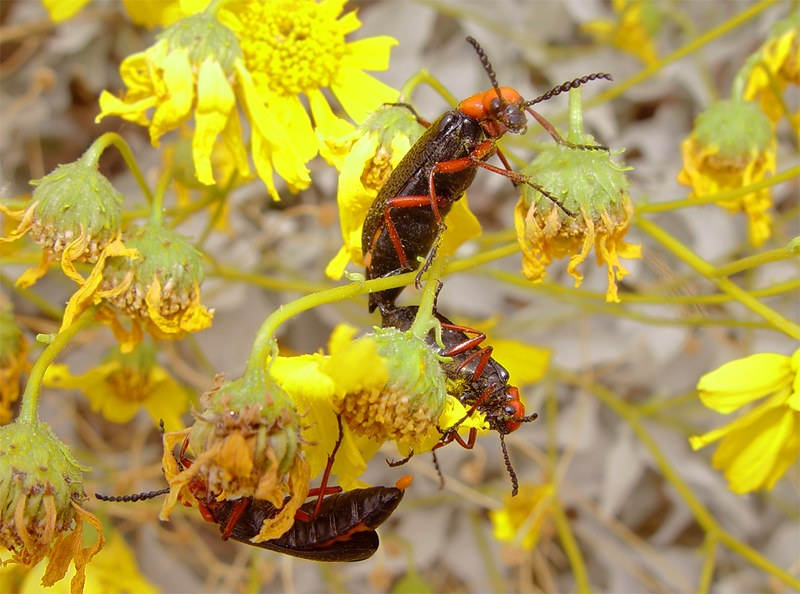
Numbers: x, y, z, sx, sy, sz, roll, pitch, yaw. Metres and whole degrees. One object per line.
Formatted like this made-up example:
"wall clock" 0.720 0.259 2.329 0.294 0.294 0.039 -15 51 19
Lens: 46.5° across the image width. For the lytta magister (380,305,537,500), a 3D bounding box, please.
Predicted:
"lytta magister" 0.147 0.161 1.786 0.101 0.341 0.346 -27 81 -8
